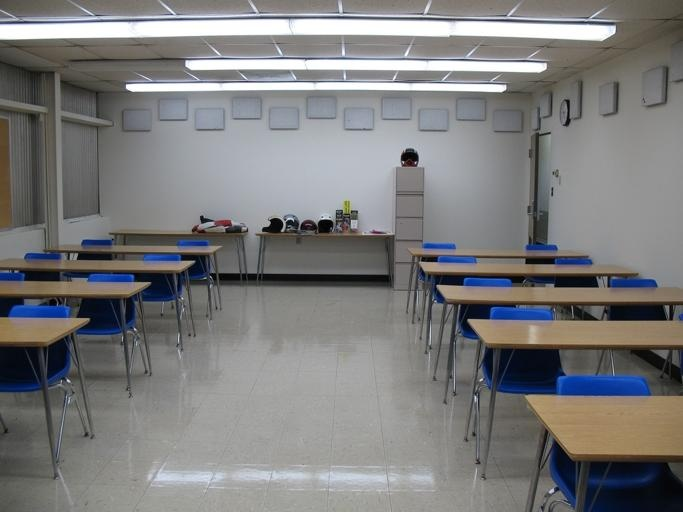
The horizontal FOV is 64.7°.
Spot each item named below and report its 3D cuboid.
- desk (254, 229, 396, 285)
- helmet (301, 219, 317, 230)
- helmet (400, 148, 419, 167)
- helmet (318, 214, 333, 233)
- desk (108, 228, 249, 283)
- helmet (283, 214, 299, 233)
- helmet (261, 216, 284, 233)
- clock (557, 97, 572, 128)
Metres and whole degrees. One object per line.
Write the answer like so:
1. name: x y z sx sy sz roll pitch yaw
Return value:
1. desk: -0.355 0.031 11.128 2.826 1.034 0.688 0 -1 0
2. helmet: -0.673 -0.620 11.045 0.240 0.142 0.242 0 -2 -1
3. helmet: 1.340 -1.956 10.663 0.307 0.372 0.414 1 3 0
4. helmet: -0.302 -0.674 11.060 0.277 0.370 0.370 -1 -14 0
5. desk: -3.750 -0.002 11.409 1.874 0.707 0.491 18 20 8
6. helmet: -1.033 -0.641 11.064 0.372 0.358 0.292 13 -18 -36
7. helmet: -1.402 -0.660 10.969 0.412 0.330 0.294 -4 15 -2
8. clock: 3.943 -2.500 9.481 0.090 0.396 0.395 1 36 -11
